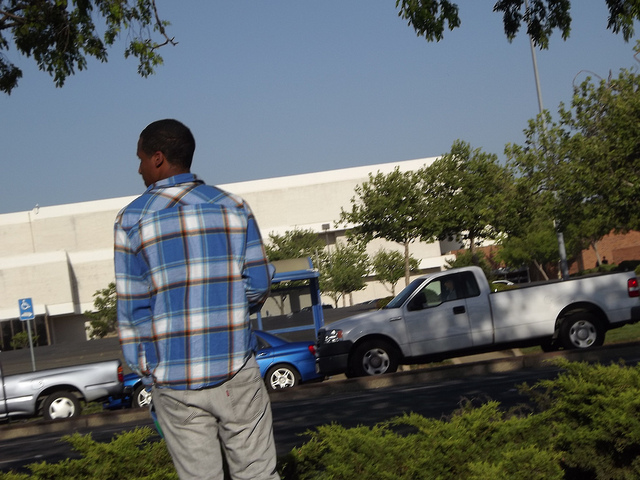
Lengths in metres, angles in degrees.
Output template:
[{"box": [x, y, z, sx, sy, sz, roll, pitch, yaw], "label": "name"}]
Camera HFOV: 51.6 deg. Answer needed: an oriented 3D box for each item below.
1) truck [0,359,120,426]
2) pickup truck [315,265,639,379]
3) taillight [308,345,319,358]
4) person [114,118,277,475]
[{"box": [-5.488, 3.290, 14.207, 2.205, 0.831, 1.188, 0, -7, -7], "label": "truck"}, {"box": [2.803, 1.415, 13.019, 5.075, 1.756, 2.533, -3, -6, -6], "label": "pickup truck"}, {"box": [-0.129, 2.315, 13.822, 0.175, 0.214, 0.231, 7, 11, 14], "label": "taillight"}, {"box": [-0.730, 0.340, 3.916, 0.903, 2.195, 0.306, -7, -5, -17], "label": "person"}]
